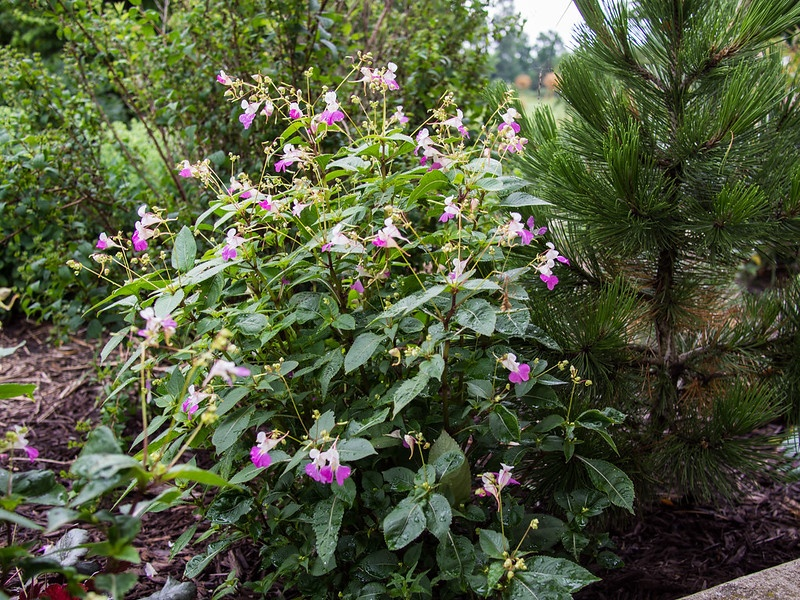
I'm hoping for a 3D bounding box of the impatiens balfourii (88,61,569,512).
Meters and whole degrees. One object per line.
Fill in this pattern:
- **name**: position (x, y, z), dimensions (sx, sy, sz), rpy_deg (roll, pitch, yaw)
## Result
- **impatiens balfourii**: position (-0.280, -0.046, 2.805), dimensions (1.447, 1.544, 1.423), rpy_deg (-23, -16, -17)
